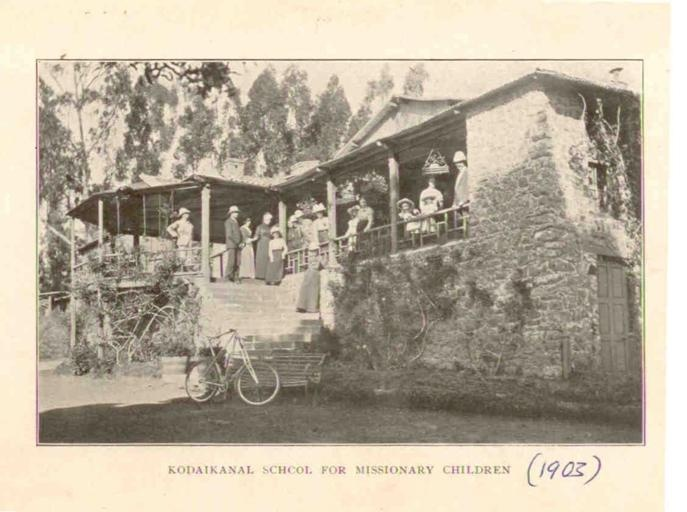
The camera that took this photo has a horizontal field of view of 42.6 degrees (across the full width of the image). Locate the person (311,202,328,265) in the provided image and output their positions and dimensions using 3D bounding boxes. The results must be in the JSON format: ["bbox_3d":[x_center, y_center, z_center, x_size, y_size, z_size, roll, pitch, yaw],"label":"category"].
[{"bbox_3d":[-0.422,-0.383,16.078,0.355,1.178,0.216,-1,-2,14],"label":"person"}]

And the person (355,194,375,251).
[{"bbox_3d":[0.366,-0.593,15.800,0.343,0.981,0.177,-1,-2,13],"label":"person"}]

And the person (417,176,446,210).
[{"bbox_3d":[1.543,-1.070,15.493,0.371,0.871,0.235,0,26,4],"label":"person"}]

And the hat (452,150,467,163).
[{"bbox_3d":[2.007,-1.725,15.295,0.191,0.118,0.207,-4,-5,-14],"label":"hat"}]

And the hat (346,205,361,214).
[{"bbox_3d":[0.173,-0.828,15.916,0.149,0.078,0.170,1,-7,-26],"label":"hat"}]

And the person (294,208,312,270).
[{"bbox_3d":[-0.755,-0.319,16.243,0.342,1.087,0.180,-2,-3,38],"label":"person"}]

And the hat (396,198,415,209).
[{"bbox_3d":[1.113,-0.958,15.767,0.200,0.087,0.205,7,-34,43],"label":"hat"}]

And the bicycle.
[{"bbox_3d":[-2.131,1.901,15.583,1.537,1.020,0.720,-5,-5,-34],"label":"bicycle"}]

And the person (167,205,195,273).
[{"bbox_3d":[-2.957,-0.306,16.047,0.483,1.144,0.138,-1,-2,17],"label":"person"}]

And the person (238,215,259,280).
[{"bbox_3d":[-1.801,-0.139,16.417,0.302,1.123,0.121,0,-2,-13],"label":"person"}]

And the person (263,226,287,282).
[{"bbox_3d":[-1.257,-0.004,16.362,0.367,1.074,0.211,-1,-2,21],"label":"person"}]
